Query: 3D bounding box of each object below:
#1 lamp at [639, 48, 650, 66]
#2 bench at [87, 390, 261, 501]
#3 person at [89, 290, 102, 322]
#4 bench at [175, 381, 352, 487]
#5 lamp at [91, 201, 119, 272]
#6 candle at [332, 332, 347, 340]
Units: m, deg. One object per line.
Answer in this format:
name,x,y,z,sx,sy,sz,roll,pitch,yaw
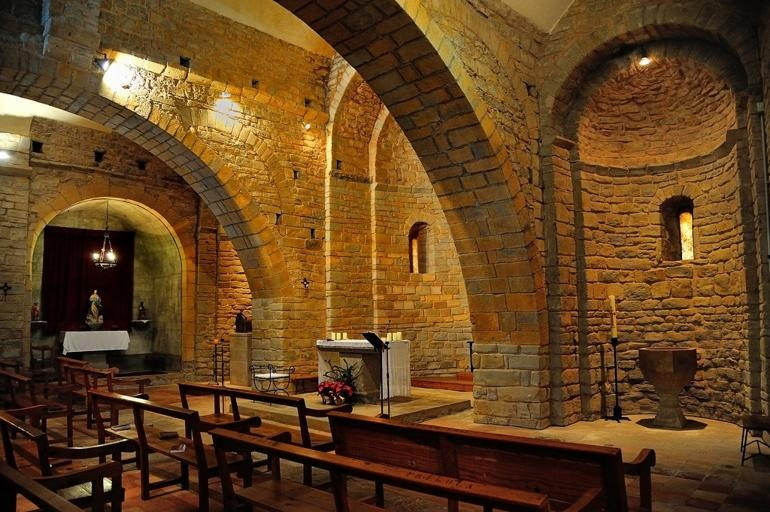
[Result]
lamp,4.285,-3.260,8.689,0.183,0.197,0.233,-6,-10,26
bench,-2.427,2.156,5.956,0.530,0.665,1.575,-2,1,-44
person,-7.689,1.293,14.005,0.300,0.919,0.941,4,-11,-28
bench,-1.591,2.029,6.249,0.709,0.743,2.033,1,-21,33
lamp,-7.590,-0.472,14.361,0.677,1.611,1.131,4,-11,-27
candle,-0.910,1.602,10.479,0.288,0.076,0.249,-1,-1,-11
